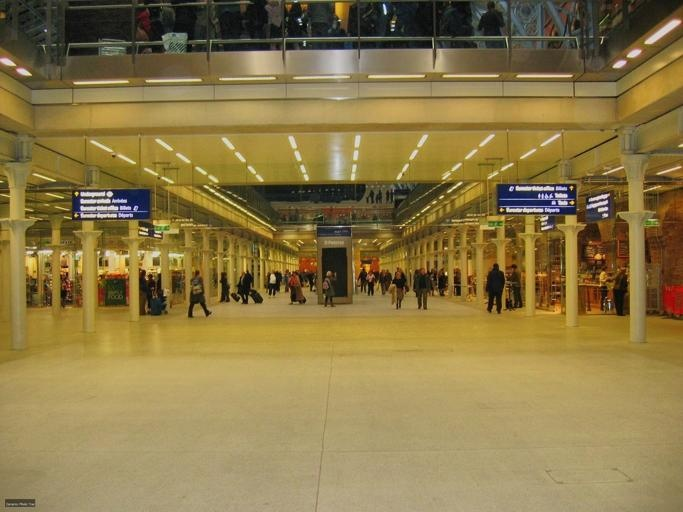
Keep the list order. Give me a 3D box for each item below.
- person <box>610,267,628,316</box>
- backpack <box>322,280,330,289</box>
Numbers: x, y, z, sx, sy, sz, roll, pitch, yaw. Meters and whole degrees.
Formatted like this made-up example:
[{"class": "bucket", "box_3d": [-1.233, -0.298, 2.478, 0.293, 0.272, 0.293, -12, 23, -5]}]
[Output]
[{"class": "person", "box_3d": [11.004, 1.394, 21.940, 0.499, 1.771, 1.134, 1, 5, 27]}, {"class": "backpack", "box_3d": [-0.661, 1.349, 26.701, 0.313, 0.412, 0.434, 0, -4, 8]}]
